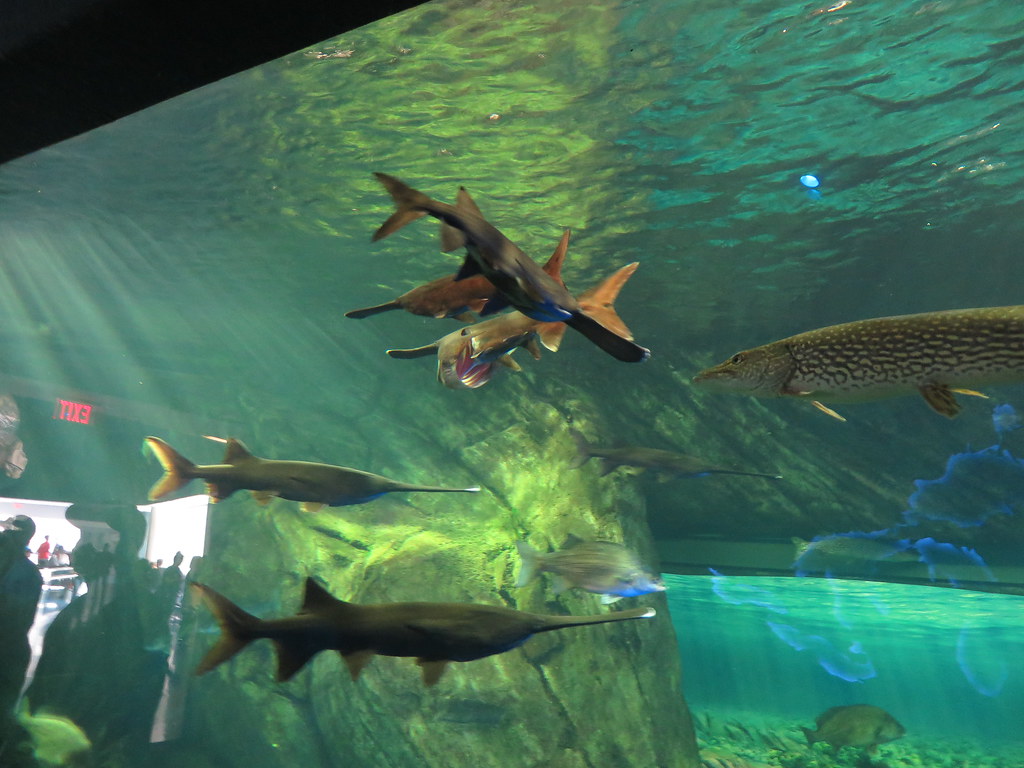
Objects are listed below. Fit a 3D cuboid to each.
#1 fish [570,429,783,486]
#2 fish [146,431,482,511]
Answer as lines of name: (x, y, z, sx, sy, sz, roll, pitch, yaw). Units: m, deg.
fish: (2.784, 1.652, 17.656, 3.567, 0.778, 0.770, 5, 33, 42)
fish: (-3.608, 1.298, 12.459, 3.661, 1.364, 0.635, -6, 31, 20)
